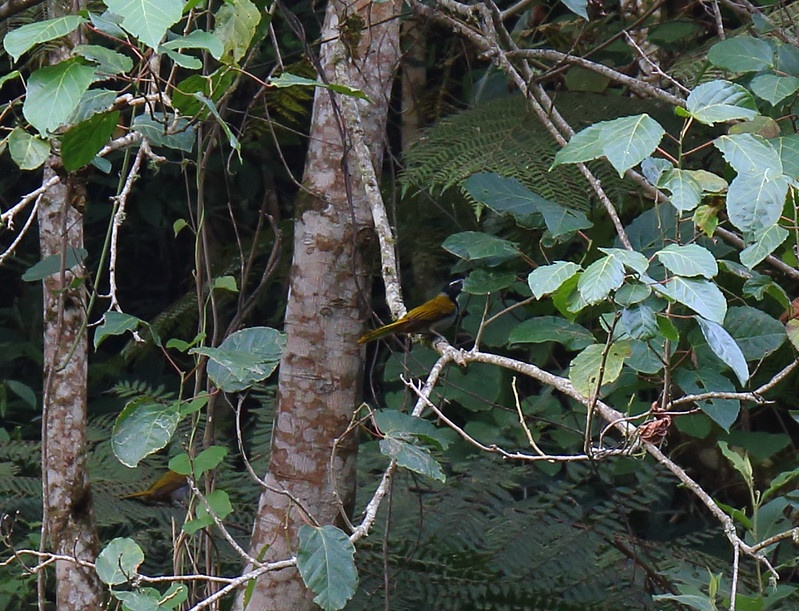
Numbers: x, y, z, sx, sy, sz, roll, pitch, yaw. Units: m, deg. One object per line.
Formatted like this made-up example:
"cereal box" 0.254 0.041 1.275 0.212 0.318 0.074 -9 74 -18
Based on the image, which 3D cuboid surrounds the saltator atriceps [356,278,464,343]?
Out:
"saltator atriceps" 0.063 0.031 6.325 0.594 0.166 0.264 -5 83 -22
